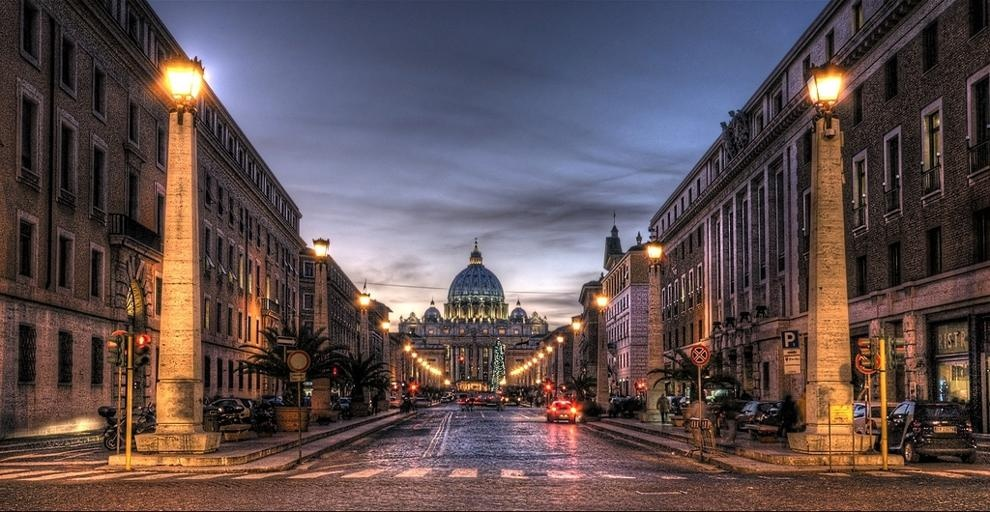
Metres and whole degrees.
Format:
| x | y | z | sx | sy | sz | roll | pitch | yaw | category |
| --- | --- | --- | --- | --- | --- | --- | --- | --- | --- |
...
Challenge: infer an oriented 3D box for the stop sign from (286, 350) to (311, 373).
| x | y | z | sx | sy | sz | roll | pitch | yaw | category |
| --- | --- | --- | --- | --- | --- | --- | --- | --- | --- |
| -9.373 | 4.883 | 47.072 | 0.995 | 1.192 | 1.621 | 1 | -19 | -6 | stop sign |

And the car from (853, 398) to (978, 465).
| x | y | z | sx | sy | sz | roll | pitch | yaw | category |
| --- | --- | --- | --- | --- | --- | --- | --- | --- | --- |
| 19.950 | 8.196 | 46.380 | 2.148 | 3.006 | 5.834 | 1 | -7 | -7 | car |
